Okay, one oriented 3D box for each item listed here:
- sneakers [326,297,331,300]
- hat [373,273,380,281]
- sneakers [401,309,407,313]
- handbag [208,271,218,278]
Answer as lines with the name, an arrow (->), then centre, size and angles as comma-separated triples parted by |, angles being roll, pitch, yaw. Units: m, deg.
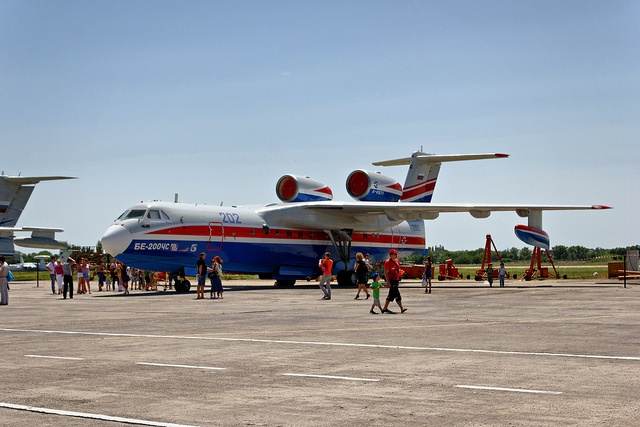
sneakers -> 0.343, 3.546, 26.515 | 0.183, 0.129, 0.445 | -1, -7, 1
hat -> 1.781, 1.986, 19.896 | 0.188, 0.203, 0.235 | 3, 21, 4
sneakers -> 2.728, 3.141, 20.511 | 0.216, 0.084, 0.072 | -36, 2, -11
handbag -> -4.799, 2.734, 27.958 | 0.568, 0.333, 0.248 | -8, -11, 43
